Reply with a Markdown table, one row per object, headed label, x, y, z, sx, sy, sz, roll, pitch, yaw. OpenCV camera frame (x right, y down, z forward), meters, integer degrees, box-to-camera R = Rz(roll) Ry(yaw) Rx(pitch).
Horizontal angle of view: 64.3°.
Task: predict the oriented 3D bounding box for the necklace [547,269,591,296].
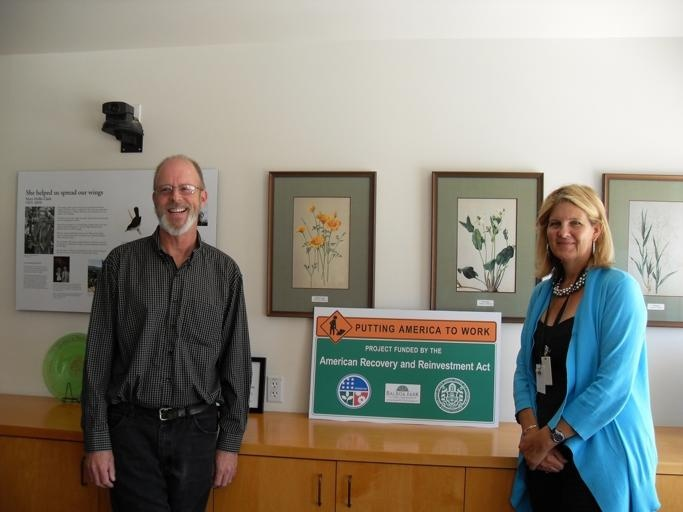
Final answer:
| label | x | y | z | sx | sy | sz | roll | pitch | yaw |
| --- | --- | --- | --- | --- | --- | --- | --- | --- | --- |
| necklace | 1.155 | 0.147 | 2.754 | 0.134 | 0.026 | 0.115 | -38 | 20 | 9 |

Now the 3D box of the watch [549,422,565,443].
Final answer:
| label | x | y | z | sx | sy | sz | roll | pitch | yaw |
| --- | --- | --- | --- | --- | --- | --- | --- | --- | --- |
| watch | 1.023 | 0.837 | 2.578 | 0.046 | 0.083 | 0.073 | -8 | -1 | 16 |

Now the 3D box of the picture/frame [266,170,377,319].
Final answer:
| label | x | y | z | sx | sy | sz | roll | pitch | yaw |
| --- | --- | --- | --- | --- | --- | --- | --- | --- | --- |
| picture/frame | -0.132 | -0.091 | 3.435 | 0.670 | 1.052 | 0.040 | 1 | -27 | -2 |

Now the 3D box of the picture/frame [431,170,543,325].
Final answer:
| label | x | y | z | sx | sy | sz | roll | pitch | yaw |
| --- | --- | --- | --- | --- | --- | --- | --- | --- | --- |
| picture/frame | 0.909 | -0.080 | 3.366 | 0.745 | 1.119 | 0.046 | 10 | -33 | 0 |
